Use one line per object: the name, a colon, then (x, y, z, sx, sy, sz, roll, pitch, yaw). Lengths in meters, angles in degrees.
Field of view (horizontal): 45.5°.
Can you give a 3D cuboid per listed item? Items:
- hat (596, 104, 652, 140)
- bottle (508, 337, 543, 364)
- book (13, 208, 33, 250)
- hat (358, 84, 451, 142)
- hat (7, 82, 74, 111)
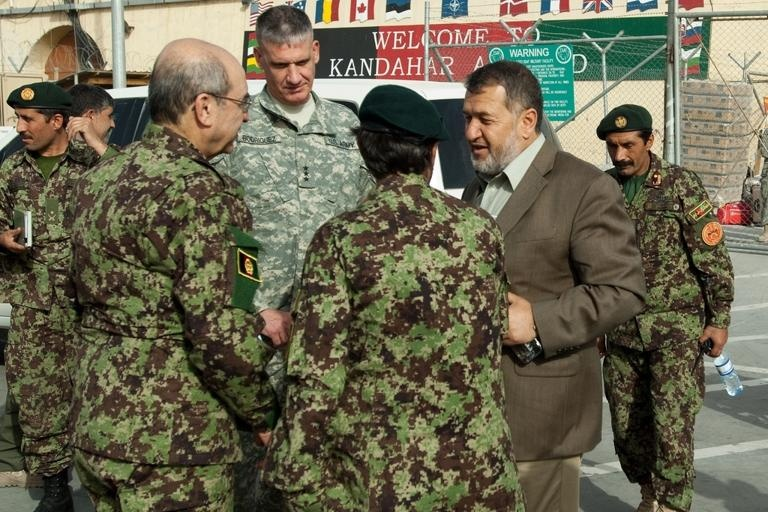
hat: (1.735, -0.953, 6.448, 0.250, 0.153, 0.319, -1, 4, 40)
bottle: (0.771, 0.516, 4.972, 0.091, 0.081, 0.148, -37, 3, -9)
book: (-2.590, -0.192, 6.588, 0.051, 0.224, 0.217, 3, 1, -39)
hat: (0.110, -0.686, 4.462, 0.346, 0.138, 0.252, 2, 13, -46)
hat: (-2.566, -1.250, 6.926, 0.265, 0.118, 0.324, -2, -5, 36)
